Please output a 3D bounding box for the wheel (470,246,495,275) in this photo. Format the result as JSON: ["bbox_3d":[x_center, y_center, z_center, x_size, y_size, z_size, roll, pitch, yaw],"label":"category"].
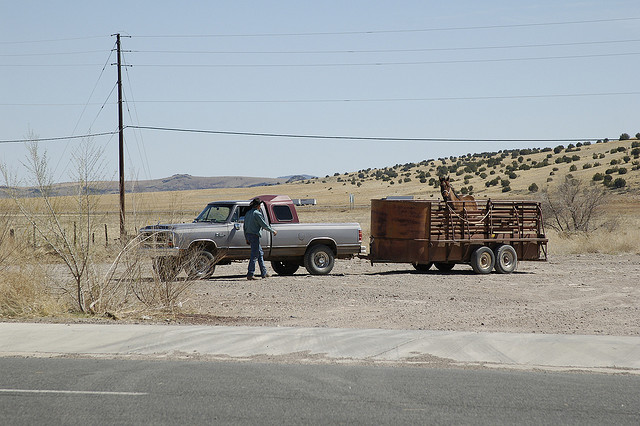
[{"bbox_3d":[5.968,1.704,26.946,0.947,1.001,0.366,-1,-2,-28],"label":"wheel"}]

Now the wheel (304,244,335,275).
[{"bbox_3d":[-0.038,1.561,25.516,1.090,1.074,0.381,2,0,-32],"label":"wheel"}]

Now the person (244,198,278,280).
[{"bbox_3d":[-2.019,0.851,23.797,0.794,2.576,0.788,-1,-2,-11],"label":"person"}]

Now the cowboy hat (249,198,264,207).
[{"bbox_3d":[-2.082,-0.349,23.903,0.348,0.279,0.626,-1,-1,-5],"label":"cowboy hat"}]

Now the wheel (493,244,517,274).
[{"bbox_3d":[6.829,1.692,27.447,1.183,1.166,0.404,2,-4,-34],"label":"wheel"}]

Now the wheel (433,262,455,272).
[{"bbox_3d":[4.780,2.037,28.447,0.743,0.278,1.322,-2,-1,8],"label":"wheel"}]

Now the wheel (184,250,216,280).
[{"bbox_3d":[-3.623,1.526,22.184,0.392,1.093,1.108,1,2,43],"label":"wheel"}]
